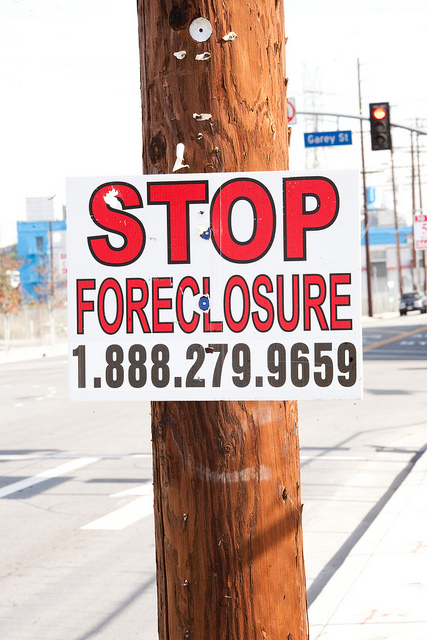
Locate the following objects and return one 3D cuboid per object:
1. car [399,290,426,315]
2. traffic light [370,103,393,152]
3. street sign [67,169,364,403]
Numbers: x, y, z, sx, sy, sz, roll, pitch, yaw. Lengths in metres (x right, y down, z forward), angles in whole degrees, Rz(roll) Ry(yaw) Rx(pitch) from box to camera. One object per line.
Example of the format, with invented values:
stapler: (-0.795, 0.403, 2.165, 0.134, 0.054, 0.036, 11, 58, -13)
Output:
car: (11.819, -1.037, 69.796, 0.799, 1.170, 2.149, -2, -8, 12)
traffic light: (3.020, -3.474, 21.302, 0.361, 0.821, 0.503, -2, 0, 9)
street sign: (0.000, -0.117, 4.026, 0.997, 1.021, 0.021, -1, 37, -1)
